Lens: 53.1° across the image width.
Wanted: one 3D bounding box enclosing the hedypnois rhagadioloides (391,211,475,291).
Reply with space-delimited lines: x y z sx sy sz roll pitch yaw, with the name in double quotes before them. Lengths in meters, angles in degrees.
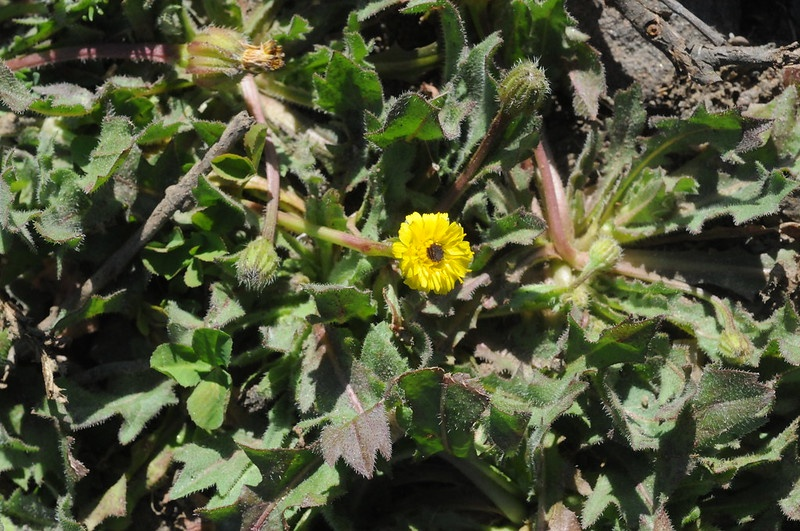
"hedypnois rhagadioloides" 0.147 -0.057 3.563 0.324 0.364 0.145 -4 4 -10
